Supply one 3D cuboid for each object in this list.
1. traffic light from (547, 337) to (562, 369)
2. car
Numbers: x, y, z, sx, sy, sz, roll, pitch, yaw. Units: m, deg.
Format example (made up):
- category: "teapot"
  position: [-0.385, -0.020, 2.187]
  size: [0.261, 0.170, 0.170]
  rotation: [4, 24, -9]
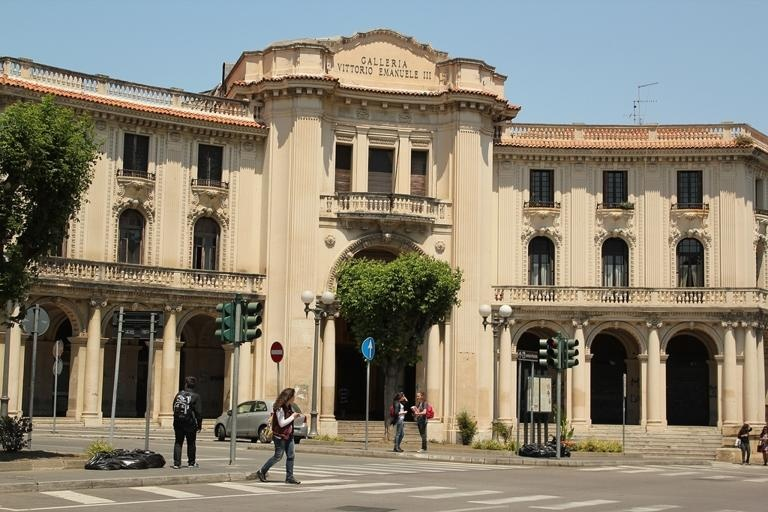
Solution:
- category: "traffic light"
  position: [7.605, 4.185, 64.156]
  size: [0.612, 1.405, 0.390]
  rotation: [-1, -12, 11]
- category: "car"
  position: [-5.945, 8.032, 69.740]
  size: [4.021, 1.760, 2.232]
  rotation: [2, -5, 28]
